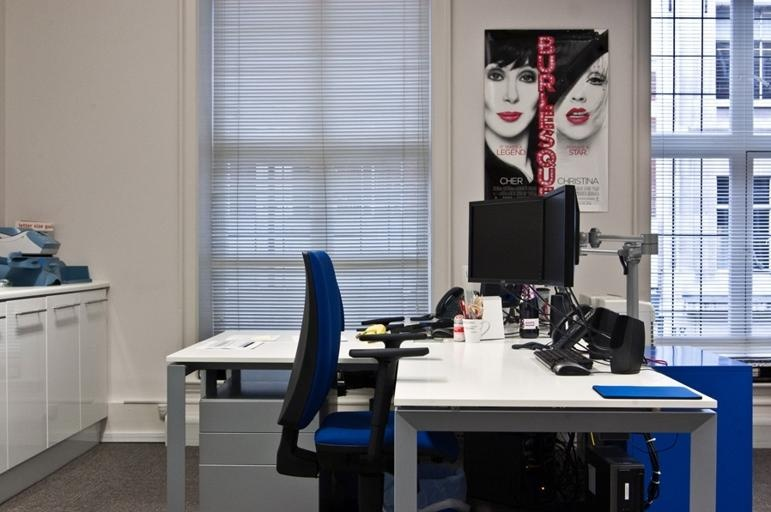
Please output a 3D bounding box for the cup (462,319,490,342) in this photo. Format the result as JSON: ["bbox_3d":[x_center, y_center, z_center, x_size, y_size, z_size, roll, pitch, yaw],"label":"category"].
[{"bbox_3d":[0.602,0.487,5.154,0.168,0.118,0.121,1,-5,-2],"label":"cup"}]

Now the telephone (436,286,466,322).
[{"bbox_3d":[0.459,0.328,5.542,0.225,0.186,0.177,-11,-20,-42],"label":"telephone"}]

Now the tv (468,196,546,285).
[{"bbox_3d":[0.815,-0.105,5.129,0.597,0.576,0.045,0,-1,44],"label":"tv"}]

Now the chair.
[{"bbox_3d":[-0.170,0.739,4.717,1.036,1.584,0.557,-3,7,-5],"label":"chair"}]

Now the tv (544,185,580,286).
[{"bbox_3d":[1.077,-0.126,4.776,0.222,0.551,0.636,0,-1,5],"label":"tv"}]

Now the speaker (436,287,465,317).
[{"bbox_3d":[0.499,0.325,5.559,0.216,0.180,0.169,-5,-13,-42],"label":"speaker"}]
